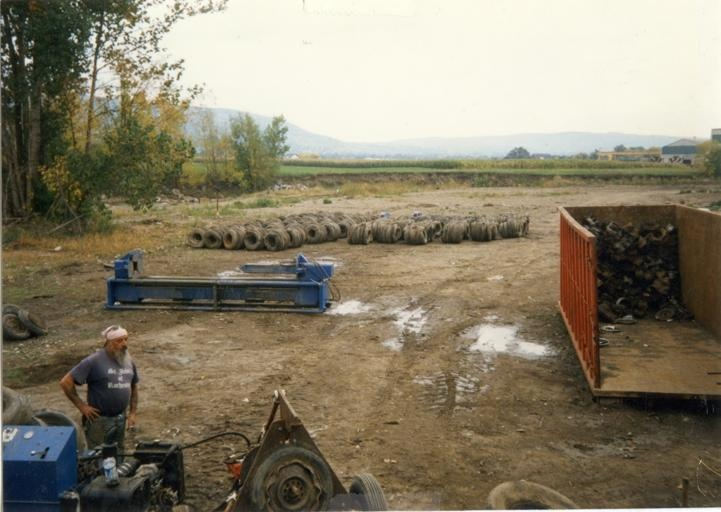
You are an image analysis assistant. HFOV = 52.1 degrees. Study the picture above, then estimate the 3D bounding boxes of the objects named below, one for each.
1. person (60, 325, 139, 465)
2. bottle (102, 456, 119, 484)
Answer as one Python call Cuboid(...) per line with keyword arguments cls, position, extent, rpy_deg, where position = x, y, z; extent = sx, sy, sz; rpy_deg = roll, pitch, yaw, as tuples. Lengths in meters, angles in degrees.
Cuboid(cls="person", position=(-4.041, 2.110, 11.549), extent=(1.108, 1.939, 0.586), rpy_deg=(-7, 10, -25))
Cuboid(cls="bottle", position=(-3.398, 2.880, 10.023), extent=(0.178, 0.361, 0.228), rpy_deg=(-6, 10, -18))
